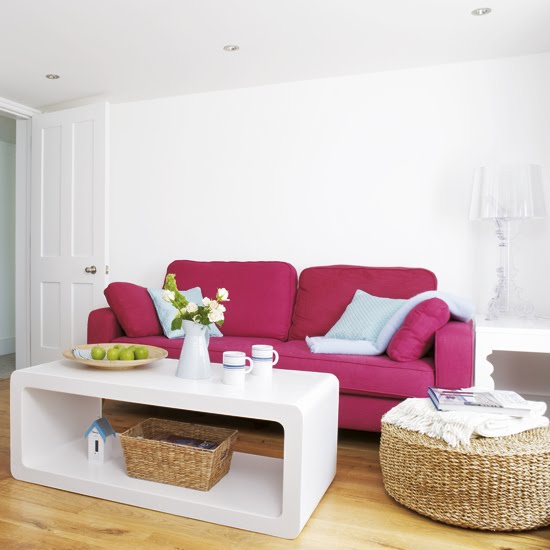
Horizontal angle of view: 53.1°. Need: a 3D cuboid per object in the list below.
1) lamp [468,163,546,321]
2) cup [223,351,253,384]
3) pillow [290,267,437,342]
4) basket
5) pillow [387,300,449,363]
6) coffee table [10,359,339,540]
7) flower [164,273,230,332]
[{"bbox_3d":[1.331,-0.200,3.159,0.406,0.904,0.475,3,6,19],"label":"lamp"},{"bbox_3d":[-0.159,0.369,2.186,0.084,0.119,0.061,-1,6,-14],"label":"cup"},{"bbox_3d":[0.493,0.194,3.344,0.750,0.483,0.196,-6,-34,34],"label":"pillow"},{"bbox_3d":[-0.399,0.733,2.292,0.432,0.142,0.251,1,-2,21],"label":"basket"},{"bbox_3d":[0.706,0.277,2.880,0.328,0.320,0.541,10,-7,17],"label":"pillow"},{"bbox_3d":[-0.432,0.657,2.331,1.299,0.488,0.483,2,5,19],"label":"coffee table"},{"bbox_3d":[-0.338,0.125,2.335,0.254,0.246,0.278,0,5,-7],"label":"flower"}]
